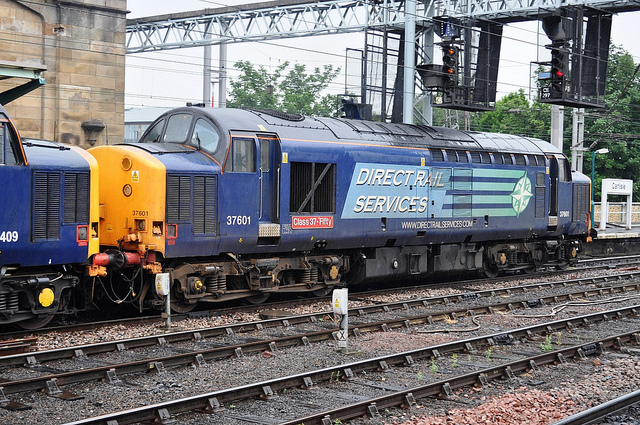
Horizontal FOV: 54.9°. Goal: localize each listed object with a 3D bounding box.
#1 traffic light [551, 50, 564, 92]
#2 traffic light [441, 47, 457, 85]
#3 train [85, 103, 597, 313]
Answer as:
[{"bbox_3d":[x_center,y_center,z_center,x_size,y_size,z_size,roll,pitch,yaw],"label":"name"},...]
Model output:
[{"bbox_3d":[10.486,-6.164,27.056,0.476,1.849,0.638,0,4,22],"label":"traffic light"},{"bbox_3d":[5.819,-6.488,27.415,1.050,1.635,0.476,-5,5,-41],"label":"traffic light"},{"bbox_3d":[4.588,-0.231,24.360,26.850,6.604,5.893,0,-1,-44],"label":"train"}]
